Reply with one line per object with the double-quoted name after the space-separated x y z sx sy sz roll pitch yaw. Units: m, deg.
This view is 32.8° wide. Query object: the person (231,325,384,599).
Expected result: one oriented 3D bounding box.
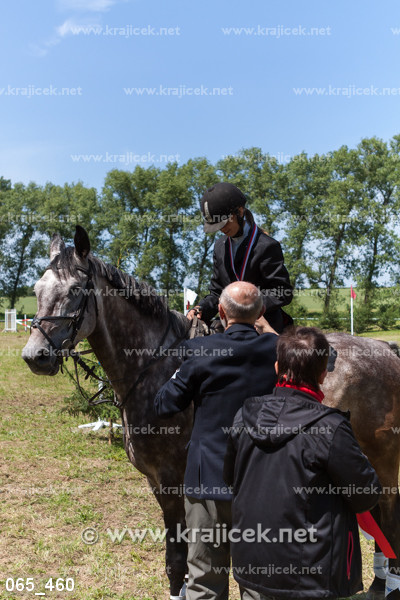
0.485 0.797 3.331 0.436 1.289 0.639 2 4 -40 "person"
